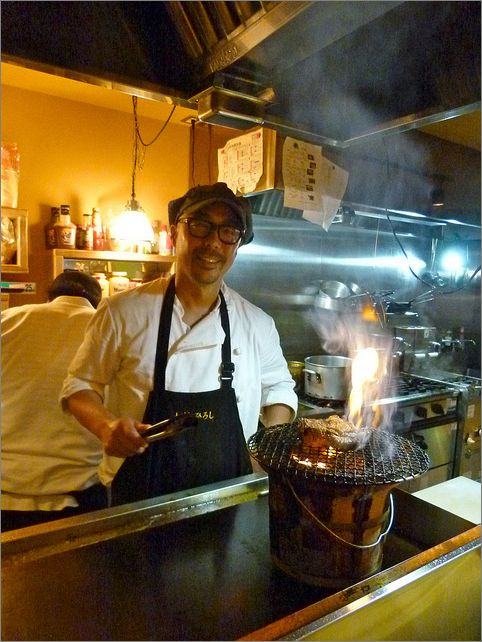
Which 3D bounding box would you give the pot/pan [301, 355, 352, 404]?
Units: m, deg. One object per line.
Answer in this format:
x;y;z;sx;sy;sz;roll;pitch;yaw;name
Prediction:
0.627;0.434;3.516;0.328;0.251;0.529;5;2;34;pot/pan

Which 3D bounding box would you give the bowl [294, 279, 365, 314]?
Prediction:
0.786;-0.213;4.200;0.418;0.284;0.486;0;9;-35;bowl

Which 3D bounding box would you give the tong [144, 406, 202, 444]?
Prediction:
-0.211;0.285;1.295;0.062;0.067;0.257;-7;-4;-41;tong

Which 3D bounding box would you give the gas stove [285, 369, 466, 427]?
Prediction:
1.407;0.654;4.079;0.528;0.268;1.015;-5;2;-2;gas stove
